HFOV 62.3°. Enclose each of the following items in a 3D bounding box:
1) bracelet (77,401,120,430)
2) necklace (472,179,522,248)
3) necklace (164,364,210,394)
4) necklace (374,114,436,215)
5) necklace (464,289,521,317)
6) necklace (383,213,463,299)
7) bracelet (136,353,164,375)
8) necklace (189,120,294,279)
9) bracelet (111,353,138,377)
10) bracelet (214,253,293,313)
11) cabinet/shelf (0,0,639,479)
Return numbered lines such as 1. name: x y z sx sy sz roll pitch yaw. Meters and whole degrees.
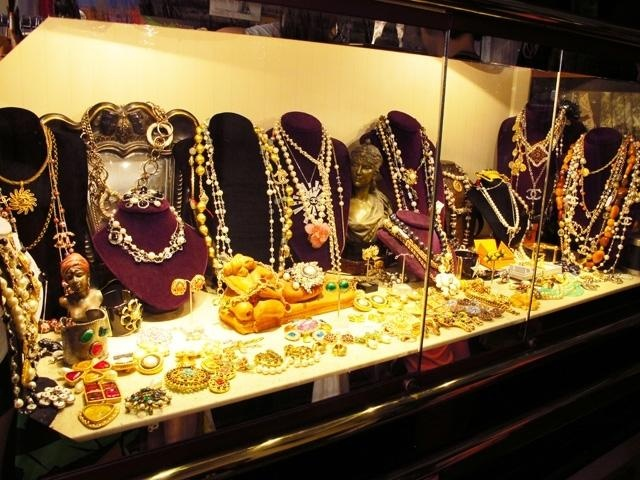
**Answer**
1. bracelet: -0.468 0.374 1.129 0.077 0.016 0.087 -10 22 -19
2. necklace: 0.633 -0.103 1.911 0.175 0.233 0.099 -35 17 -17
3. necklace: -0.322 0.336 1.293 0.105 0.014 0.121 -7 21 -11
4. necklace: 0.305 -0.274 1.872 0.186 0.324 0.086 -10 11 -10
5. necklace: 0.518 0.184 1.580 0.051 0.023 0.133 -1 11 -19
6. necklace: 0.321 0.032 1.722 0.172 0.066 0.283 2 39 -32
7. bracelet: -0.432 0.311 1.350 0.061 0.027 0.080 -9 22 -17
8. necklace: -0.265 -0.128 1.690 0.356 0.507 0.239 -16 29 -35
9. bracelet: -0.490 0.310 1.338 0.049 0.029 0.047 19 23 23
10. bracelet: -0.204 0.121 1.622 0.161 0.080 0.178 -11 50 -45
11. cabinet/shelf: -0.339 -0.085 1.812 1.832 0.921 1.176 -5 11 -41
